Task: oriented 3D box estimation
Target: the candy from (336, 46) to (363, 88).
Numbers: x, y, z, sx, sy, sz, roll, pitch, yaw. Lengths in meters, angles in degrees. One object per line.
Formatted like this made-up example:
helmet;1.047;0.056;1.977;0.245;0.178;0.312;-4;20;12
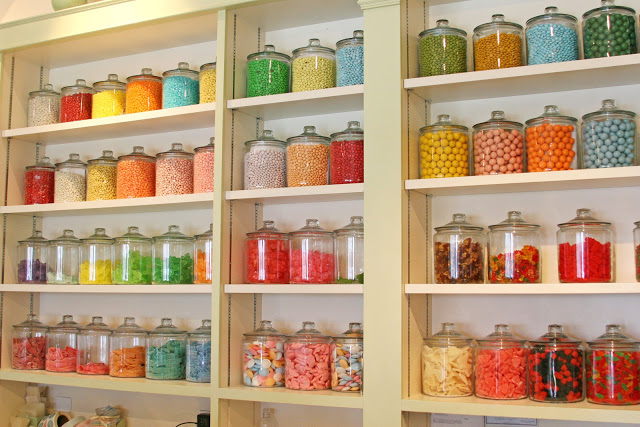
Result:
candy;0.163;-0.761;3.380;0.205;0.214;0.197;0;4;6

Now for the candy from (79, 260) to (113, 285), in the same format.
candy;-1.299;0.337;3.783;0.236;0.154;0.133;-1;-2;26

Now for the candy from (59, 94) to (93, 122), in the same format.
candy;-1.467;-0.633;3.958;0.188;0.170;0.176;-3;-6;29

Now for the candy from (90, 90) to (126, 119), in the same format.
candy;-1.259;-0.650;3.898;0.183;0.168;0.184;-3;-5;44

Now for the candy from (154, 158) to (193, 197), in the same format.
candy;-0.823;-0.196;3.647;0.227;0.232;0.219;0;0;9

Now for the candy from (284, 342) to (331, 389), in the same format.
candy;-0.045;0.775;3.308;0.242;0.220;0.243;0;-5;5

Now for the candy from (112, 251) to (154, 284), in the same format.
candy;-1.071;0.312;3.682;0.206;0.158;0.200;2;-7;-24

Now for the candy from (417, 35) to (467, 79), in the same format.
candy;0.616;-0.787;3.274;0.227;0.154;0.218;-1;3;-20

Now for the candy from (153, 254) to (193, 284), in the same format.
candy;-0.820;0.317;3.647;0.189;0.132;0.188;-4;-6;28

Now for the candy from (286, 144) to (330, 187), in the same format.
candy;-0.060;-0.247;3.388;0.225;0.233;0.227;0;0;5

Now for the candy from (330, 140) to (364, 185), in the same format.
candy;0.133;-0.257;3.335;0.223;0.233;0.213;1;-3;-18

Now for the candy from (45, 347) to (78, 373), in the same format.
candy;-1.512;0.851;3.760;0.159;0.107;0.151;1;-5;-2

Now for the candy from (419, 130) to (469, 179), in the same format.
candy;0.612;-0.287;3.176;0.250;0.222;0.240;-1;4;-8

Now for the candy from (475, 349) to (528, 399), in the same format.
candy;0.844;0.747;3.067;0.240;0.231;0.237;0;-5;4

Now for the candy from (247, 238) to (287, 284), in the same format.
candy;-0.277;0.253;3.402;0.240;0.248;0.233;3;-7;-32

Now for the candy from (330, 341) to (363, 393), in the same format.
candy;0.135;0.768;3.247;0.236;0.244;0.227;3;-10;-13

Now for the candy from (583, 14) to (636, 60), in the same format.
candy;1.353;-0.827;3.029;0.234;0.188;0.225;-1;-1;14

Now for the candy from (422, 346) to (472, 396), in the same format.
candy;0.608;0.767;3.095;0.248;0.247;0.240;3;-7;-22

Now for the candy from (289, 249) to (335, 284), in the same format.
candy;-0.046;0.274;3.363;0.196;0.134;0.193;-2;-3;28

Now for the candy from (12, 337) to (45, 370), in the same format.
candy;-1.714;0.821;3.827;0.196;0.205;0.193;-4;-5;29

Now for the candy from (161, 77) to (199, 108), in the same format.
candy;-0.793;-0.697;3.655;0.202;0.157;0.193;1;6;-1

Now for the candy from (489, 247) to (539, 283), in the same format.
candy;0.933;0.254;3.076;0.200;0.134;0.192;1;-5;-4

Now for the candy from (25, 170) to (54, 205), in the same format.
candy;-1.704;-0.163;4.029;0.211;0.221;0.210;1;0;38

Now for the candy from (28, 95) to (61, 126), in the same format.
candy;-1.703;-0.615;3.966;0.194;0.185;0.189;1;1;-30

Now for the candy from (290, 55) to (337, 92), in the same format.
candy;-0.038;-0.728;3.471;0.218;0.143;0.209;-1;0;-17

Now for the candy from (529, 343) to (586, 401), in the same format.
candy;1.067;0.729;3.028;0.269;0.275;0.260;0;-5;12

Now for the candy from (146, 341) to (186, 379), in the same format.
candy;-0.844;0.821;3.657;0.222;0.202;0.221;-4;-9;28

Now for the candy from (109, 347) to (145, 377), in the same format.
candy;-1.081;0.844;3.667;0.184;0.127;0.180;-1;-4;23

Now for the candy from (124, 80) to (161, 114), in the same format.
candy;-1.030;-0.679;3.840;0.207;0.187;0.205;1;2;39

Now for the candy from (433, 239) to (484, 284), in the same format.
candy;0.697;0.240;3.230;0.235;0.209;0.225;-1;-3;9

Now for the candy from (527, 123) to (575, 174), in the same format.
candy;1.069;-0.315;3.152;0.241;0.251;0.230;0;2;-9

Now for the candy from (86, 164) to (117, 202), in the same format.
candy;-1.292;-0.181;3.799;0.219;0.226;0.211;0;-1;9

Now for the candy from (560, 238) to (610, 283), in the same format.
candy;1.237;0.216;3.010;0.218;0.218;0.221;-1;-4;29

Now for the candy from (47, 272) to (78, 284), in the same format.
candy;-1.519;0.380;3.812;0.103;0.043;0.101;-1;-3;26

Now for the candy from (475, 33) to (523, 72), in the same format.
candy;0.876;-0.790;3.151;0.206;0.141;0.205;1;2;38

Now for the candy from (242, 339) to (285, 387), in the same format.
candy;-0.293;0.803;3.500;0.243;0.240;0.243;-2;-5;26

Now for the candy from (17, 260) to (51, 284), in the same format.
candy;-1.728;0.345;3.888;0.163;0.144;0.150;0;-2;22

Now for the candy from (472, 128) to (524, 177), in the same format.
candy;0.860;-0.284;3.120;0.235;0.211;0.239;-1;0;-21

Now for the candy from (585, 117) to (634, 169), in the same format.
candy;1.341;-0.324;3.113;0.247;0.255;0.238;-1;-4;4

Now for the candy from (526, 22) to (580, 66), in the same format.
candy;1.116;-0.812;3.080;0.226;0.179;0.224;-1;0;34

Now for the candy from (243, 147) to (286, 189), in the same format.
candy;-0.290;-0.244;3.548;0.221;0.206;0.223;0;-2;8

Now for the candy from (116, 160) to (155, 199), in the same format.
candy;-1.053;-0.181;3.718;0.228;0.239;0.227;-1;-2;36

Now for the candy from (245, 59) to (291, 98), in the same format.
candy;-0.286;-0.719;3.538;0.222;0.154;0.223;3;5;43
